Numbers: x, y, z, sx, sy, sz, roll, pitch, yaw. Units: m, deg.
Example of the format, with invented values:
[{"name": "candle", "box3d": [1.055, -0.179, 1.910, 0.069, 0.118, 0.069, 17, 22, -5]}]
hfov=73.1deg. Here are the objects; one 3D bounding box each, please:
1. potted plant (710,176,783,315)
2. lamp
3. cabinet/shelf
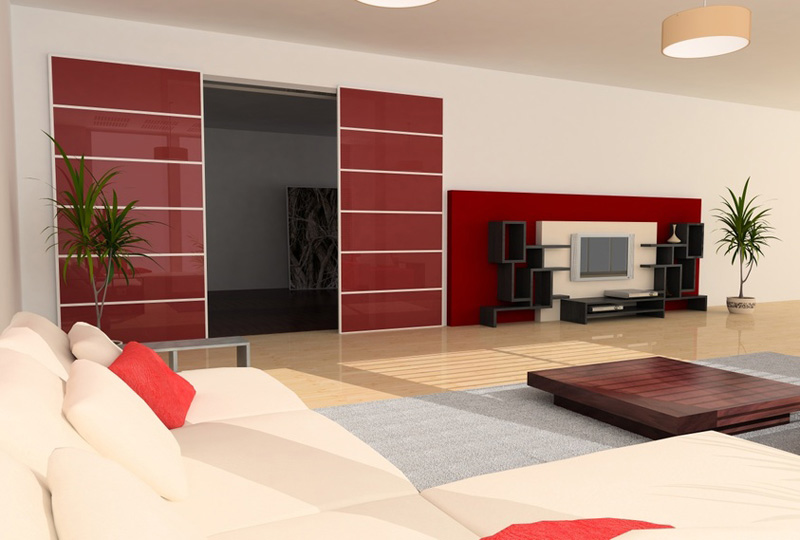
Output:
[{"name": "potted plant", "box3d": [6.097, -0.519, 9.536, 0.934, 2.261, 2.320, 3, 7, 35]}, {"name": "lamp", "box3d": [2.326, -1.848, 4.115, 0.586, 0.328, 0.489, 1, 6, 18]}, {"name": "cabinet/shelf", "box3d": [3.103, -0.012, 8.424, 3.997, 1.583, 0.976, -4, 7, -29]}]
